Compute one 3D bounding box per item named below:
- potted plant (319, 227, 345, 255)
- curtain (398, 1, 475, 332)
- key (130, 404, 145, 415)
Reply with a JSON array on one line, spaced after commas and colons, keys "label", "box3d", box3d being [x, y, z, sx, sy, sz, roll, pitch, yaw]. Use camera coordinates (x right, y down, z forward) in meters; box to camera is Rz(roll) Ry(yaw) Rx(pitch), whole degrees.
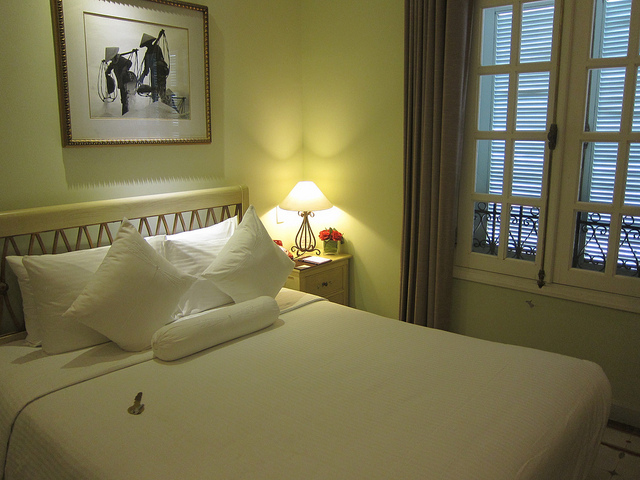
[{"label": "potted plant", "box3d": [0.125, 0.002, 4.232, 0.209, 0.230, 0.221, 4, 11, 21]}, {"label": "curtain", "box3d": [0.826, -0.528, 3.520, 0.489, 2.472, 0.336, 3, 13, 10]}, {"label": "key", "box3d": [-0.847, 0.786, 2.131, 0.035, 0.010, 0.063, 5, 14, 12]}]
